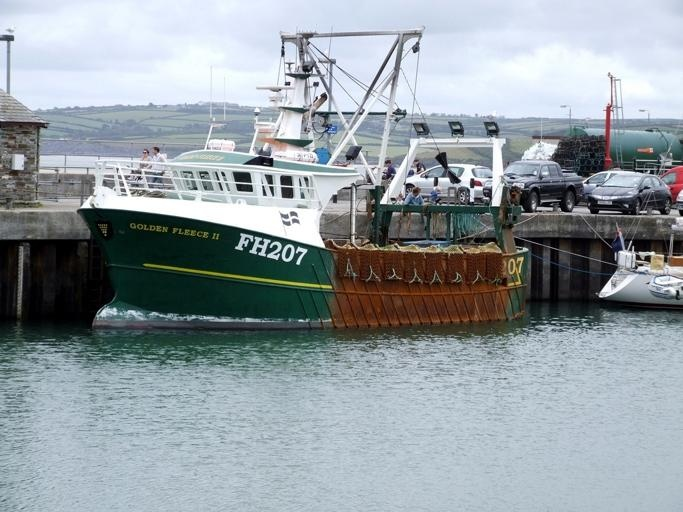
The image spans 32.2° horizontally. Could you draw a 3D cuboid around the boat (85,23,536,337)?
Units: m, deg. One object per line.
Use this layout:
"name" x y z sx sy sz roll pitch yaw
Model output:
"boat" -0.366 -1.995 31.284 15.110 7.297 5.510 0 7 -45
